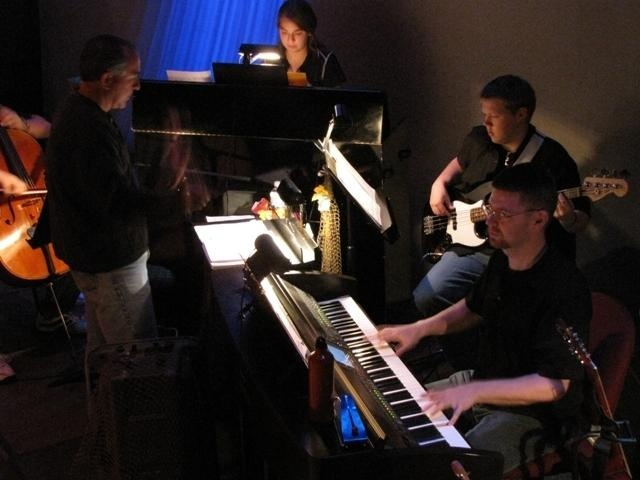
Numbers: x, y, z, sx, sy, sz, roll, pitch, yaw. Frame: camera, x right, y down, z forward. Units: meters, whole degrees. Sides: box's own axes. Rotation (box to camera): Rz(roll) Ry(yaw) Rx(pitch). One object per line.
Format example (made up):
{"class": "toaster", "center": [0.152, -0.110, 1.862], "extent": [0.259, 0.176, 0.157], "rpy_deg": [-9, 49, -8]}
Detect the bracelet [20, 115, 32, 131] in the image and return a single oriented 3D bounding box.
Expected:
{"class": "bracelet", "center": [-2.364, -0.929, 4.725], "extent": [0.054, 0.119, 0.087], "rpy_deg": [8, 7, -36]}

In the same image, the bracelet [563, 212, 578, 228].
{"class": "bracelet", "center": [1.546, -0.128, 3.644], "extent": [0.065, 0.073, 0.054], "rpy_deg": [-5, 44, -41]}

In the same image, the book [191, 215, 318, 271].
{"class": "book", "center": [-0.493, 0.002, 3.795], "extent": [0.462, 0.110, 0.464], "rpy_deg": [-8, 19, -31]}
